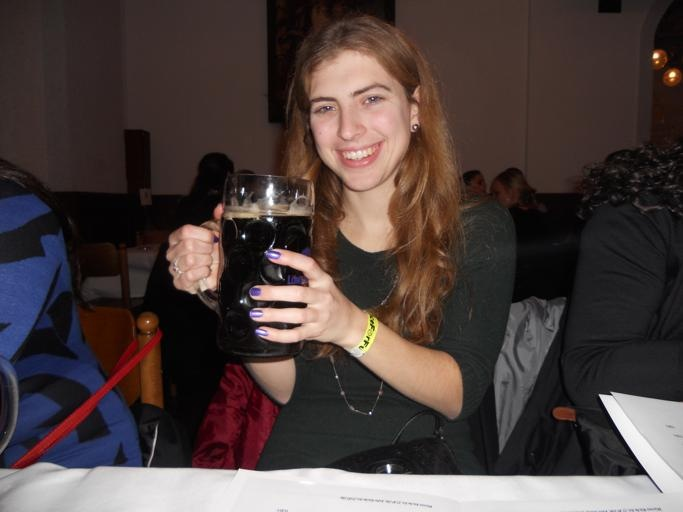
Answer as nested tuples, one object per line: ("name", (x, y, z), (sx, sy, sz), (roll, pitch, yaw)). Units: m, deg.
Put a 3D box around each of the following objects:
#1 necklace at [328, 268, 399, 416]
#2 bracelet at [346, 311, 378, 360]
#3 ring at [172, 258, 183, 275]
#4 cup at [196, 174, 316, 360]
("necklace", (0.078, 0.255, 1.552), (0.207, 0.343, 0.154), (-2, 10, -15))
("bracelet", (0.058, 0.181, 1.257), (0.023, 0.087, 0.087), (18, 23, 3))
("ring", (-0.383, 0.024, 1.287), (0.009, 0.031, 0.031), (-18, 19, -27))
("cup", (-0.175, 0.020, 1.393), (0.321, 0.571, 0.311), (5, 0, 0))
